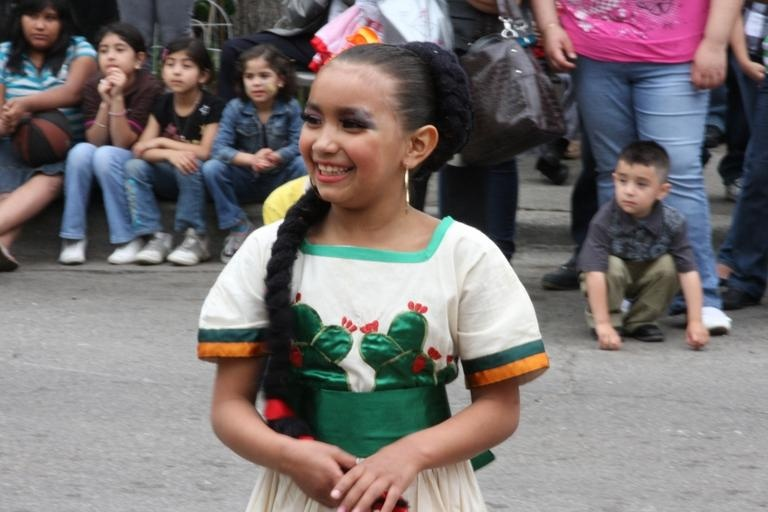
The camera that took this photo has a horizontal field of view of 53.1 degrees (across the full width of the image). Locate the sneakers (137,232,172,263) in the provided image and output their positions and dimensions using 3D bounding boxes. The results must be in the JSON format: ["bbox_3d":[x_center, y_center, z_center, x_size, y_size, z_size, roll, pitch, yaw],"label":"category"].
[{"bbox_3d":[-1.662,-0.063,5.572,0.150,0.207,0.276,5,14,21],"label":"sneakers"}]

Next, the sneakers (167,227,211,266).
[{"bbox_3d":[-1.434,-0.074,5.614,0.229,0.231,0.453,9,17,12],"label":"sneakers"}]

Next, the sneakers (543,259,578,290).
[{"bbox_3d":[1.193,0.113,5.106,0.385,0.197,0.122,3,7,-28],"label":"sneakers"}]

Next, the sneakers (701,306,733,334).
[{"bbox_3d":[1.839,0.350,4.236,0.110,0.083,0.231,-2,5,-4],"label":"sneakers"}]

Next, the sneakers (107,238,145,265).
[{"bbox_3d":[-1.876,-0.028,5.559,0.138,0.105,0.307,3,14,26],"label":"sneakers"}]

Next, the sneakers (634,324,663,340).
[{"bbox_3d":[1.442,0.415,4.204,0.073,0.056,0.165,1,-6,-18],"label":"sneakers"}]

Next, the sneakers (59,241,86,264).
[{"bbox_3d":[-2.275,-0.039,5.616,0.201,0.156,0.218,-5,14,-18],"label":"sneakers"}]
